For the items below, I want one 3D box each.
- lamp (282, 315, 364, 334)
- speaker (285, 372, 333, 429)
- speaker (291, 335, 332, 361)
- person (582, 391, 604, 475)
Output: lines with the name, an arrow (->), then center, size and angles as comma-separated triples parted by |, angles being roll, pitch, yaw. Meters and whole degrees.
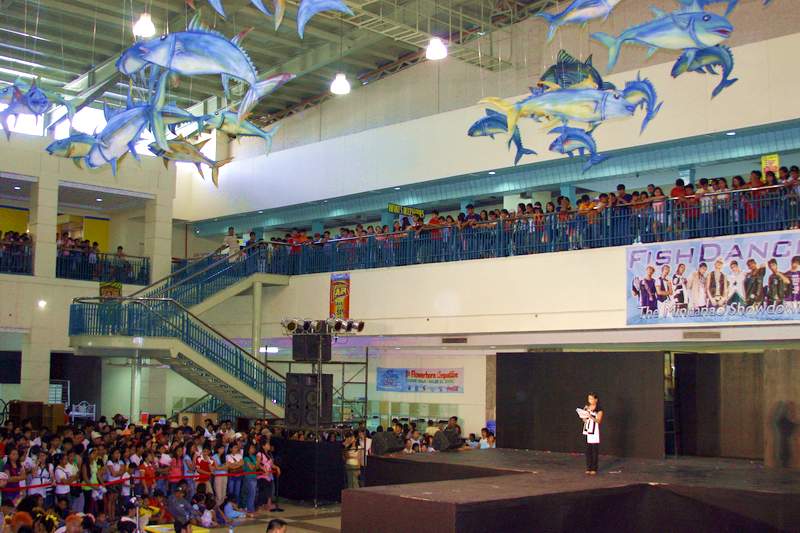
lamp -> -2.267, 1.925, 32.452 | 1.794, 0.644, 2.470 | -10, -11, 39
speaker -> -2.691, 4.012, 30.068 | 1.529, 1.625, 0.926 | -4, -3, 17
speaker -> -2.727, 2.497, 31.117 | 1.351, 0.975, 0.764 | -3, -5, 42
person -> 5.054, 4.379, 26.662 | 0.497, 2.043, 1.482 | -3, -8, 10
